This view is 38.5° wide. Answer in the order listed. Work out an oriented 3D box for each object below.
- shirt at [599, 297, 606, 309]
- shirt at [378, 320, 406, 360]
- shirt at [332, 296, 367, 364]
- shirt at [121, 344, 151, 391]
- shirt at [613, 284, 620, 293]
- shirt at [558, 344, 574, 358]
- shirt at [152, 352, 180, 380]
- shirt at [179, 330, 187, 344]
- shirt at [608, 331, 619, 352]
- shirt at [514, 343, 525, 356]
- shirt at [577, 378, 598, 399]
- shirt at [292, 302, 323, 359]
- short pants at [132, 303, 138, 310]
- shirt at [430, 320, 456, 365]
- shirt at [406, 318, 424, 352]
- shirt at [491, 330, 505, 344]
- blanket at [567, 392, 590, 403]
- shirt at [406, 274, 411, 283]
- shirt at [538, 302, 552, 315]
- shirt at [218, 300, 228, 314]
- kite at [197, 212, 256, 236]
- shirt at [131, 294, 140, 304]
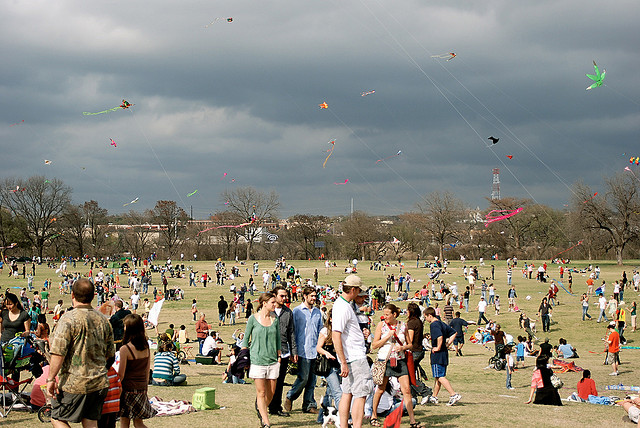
[{"bbox_3d":[20.008,6.365,65.055,0.377,0.772,0.773,9,14,14],"label":"shirt"},{"bbox_3d":[3.533,6.185,44.925,1.295,1.853,0.777,5,13,-3],"label":"shirt"},{"bbox_3d":[1.459,5.577,44.344,1.491,2.983,2.470,0,4,5],"label":"shirt"},{"bbox_3d":[-8.759,7.587,43.427,1.202,1.468,0.426,3,14,-9],"label":"shirt"},{"bbox_3d":[22.169,5.661,68.467,0.378,0.632,1.416,10,14,18],"label":"shirt"},{"bbox_3d":[14.904,8.289,55.641,0.906,0.859,0.555,8,14,10],"label":"shirt"},{"bbox_3d":[-8.260,8.001,48.578,1.653,1.445,0.942,1,-3,15],"label":"shirt"},{"bbox_3d":[-8.505,7.544,56.463,0.397,0.714,0.524,3,14,-11],"label":"shirt"},{"bbox_3d":[17.386,7.591,54.240,0.602,1.057,1.002,8,14,13],"label":"shirt"},{"bbox_3d":[11.983,8.114,54.940,0.927,0.958,0.562,1,0,12],"label":"shirt"},{"bbox_3d":[14.341,9.425,49.447,1.394,1.410,0.895,-3,-3,24],"label":"shirt"},{"bbox_3d":[-0.616,5.905,46.264,1.348,2.535,1.285,0,2,5],"label":"shirt"},{"bbox_3d":[-13.871,6.934,68.427,0.486,0.345,0.331,1,5,3],"label":"short pants"},{"bbox_3d":[6.245,6.665,47.192,1.056,2.219,1.673,-6,-9,34],"label":"shirt"},{"bbox_3d":[4.724,6.184,46.331,0.950,1.796,1.669,-3,-11,22],"label":"shirt"},{"bbox_3d":[10.601,7.393,54.474,0.992,0.951,0.581,0,-11,5],"label":"shirt"},{"bbox_3d":[13.776,9.895,49.039,0.688,0.223,0.507,20,-2,26],"label":"blanket"},{"bbox_3d":[7.599,5.574,79.057,0.524,0.670,0.392,6,-11,-44],"label":"shirt"},{"bbox_3d":[15.867,6.732,64.659,1.255,1.080,0.545,-4,-15,19],"label":"shirt"},{"bbox_3d":[-6.897,6.606,64.940,0.686,0.994,0.608,1,14,-20],"label":"shirt"},{"bbox_3d":[-12.196,1.514,124.263,4.348,2.772,7.356,2,6,13],"label":"kite"},{"bbox_3d":[-13.924,6.393,68.773,0.426,0.673,1.007,1,14,-18],"label":"shirt"}]
